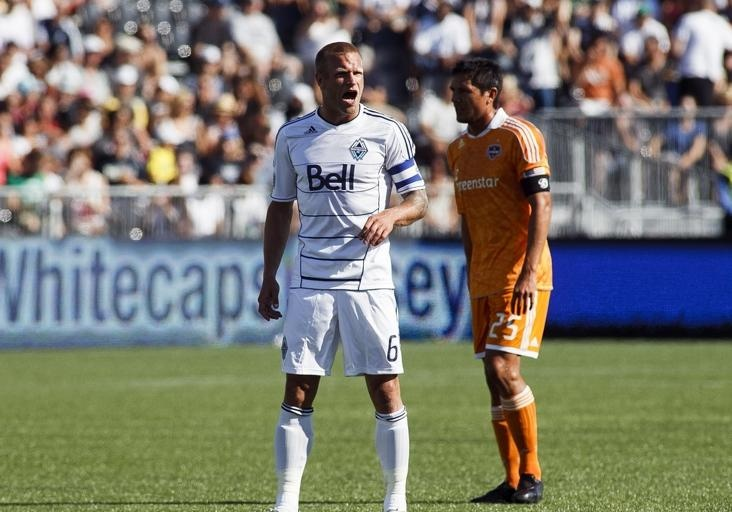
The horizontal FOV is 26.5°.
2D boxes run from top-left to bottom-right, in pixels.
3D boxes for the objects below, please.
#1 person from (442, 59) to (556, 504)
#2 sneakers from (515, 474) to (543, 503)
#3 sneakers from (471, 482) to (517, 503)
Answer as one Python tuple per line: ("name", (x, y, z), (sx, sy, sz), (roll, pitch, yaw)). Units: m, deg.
("person", (1.471, 0.234, 16.197), (0.882, 4.458, 1.288), (-3, 10, -13))
("sneakers", (1.660, 2.398, 16.030), (0.299, 0.265, 0.163), (0, 10, 3))
("sneakers", (1.341, 2.460, 16.072), (0.547, 0.242, 0.173), (0, -7, 3))
